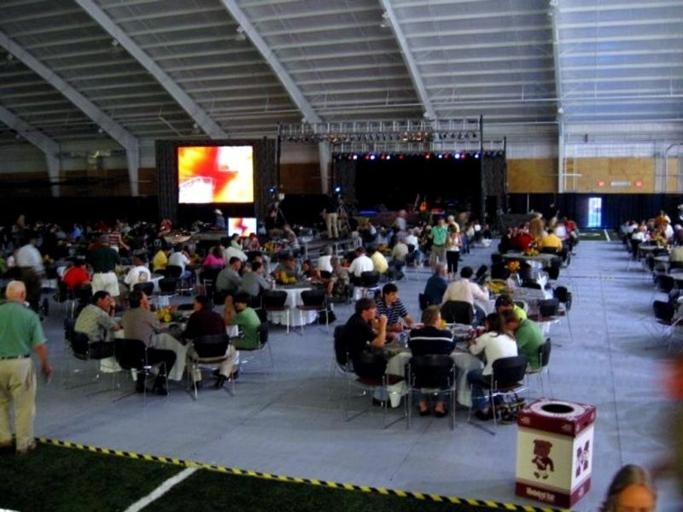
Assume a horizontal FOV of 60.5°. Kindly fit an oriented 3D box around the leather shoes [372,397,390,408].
[{"bbox_3d":[0.478,1.798,7.187,0.154,0.062,0.120,0,3,13],"label":"leather shoes"}]

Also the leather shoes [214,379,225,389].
[{"bbox_3d":[-1.644,1.695,7.812,0.072,0.096,0.139,12,30,9],"label":"leather shoes"}]

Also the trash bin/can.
[{"bbox_3d":[1.967,1.705,5.514,0.754,1.140,0.786,2,5,29],"label":"trash bin/can"}]

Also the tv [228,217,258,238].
[{"bbox_3d":[-4.056,-1.171,23.925,1.021,0.776,0.038,1,0,10],"label":"tv"}]
